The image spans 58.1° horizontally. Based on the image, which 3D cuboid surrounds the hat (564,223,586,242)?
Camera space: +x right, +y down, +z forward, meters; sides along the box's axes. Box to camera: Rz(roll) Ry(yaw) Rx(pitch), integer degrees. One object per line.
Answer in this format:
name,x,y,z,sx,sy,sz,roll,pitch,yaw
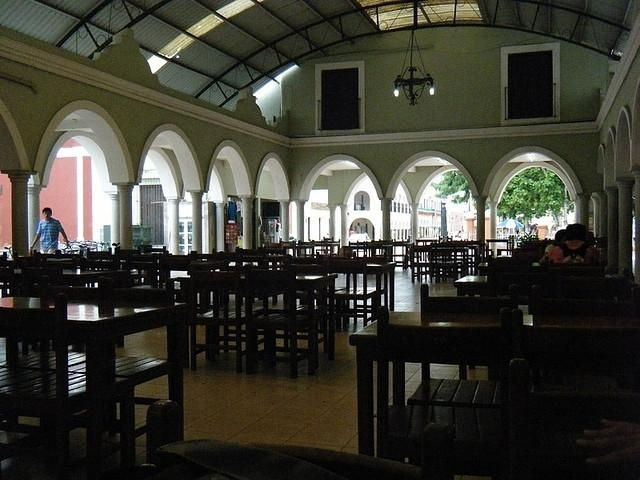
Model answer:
hat,2.847,-0.084,6.422,0.170,0.202,0.240,-2,-8,23
